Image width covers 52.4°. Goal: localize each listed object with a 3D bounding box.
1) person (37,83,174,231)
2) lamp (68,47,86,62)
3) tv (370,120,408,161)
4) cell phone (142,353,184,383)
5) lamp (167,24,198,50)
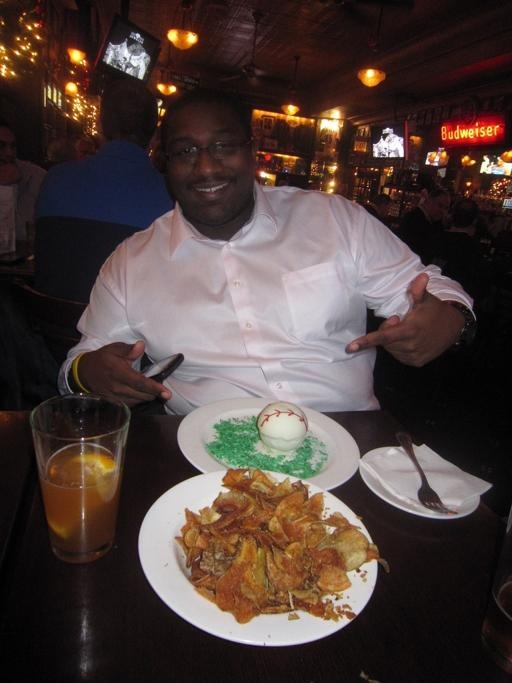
[{"bbox_3d":[-0.661,-0.924,2.606,0.885,0.688,0.419,7,21,-7],"label":"person"},{"bbox_3d":[-2.527,-4.017,7.351,0.232,0.222,0.199,-6,24,-17],"label":"lamp"},{"bbox_3d":[2.622,-3.899,10.162,0.160,0.745,1.122,-13,19,-26],"label":"tv"},{"bbox_3d":[-0.271,0.080,1.532,0.111,0.037,0.078,-37,12,-16],"label":"cell phone"},{"bbox_3d":[-1.049,-4.331,7.383,0.369,0.268,0.441,0,15,-14],"label":"lamp"}]
